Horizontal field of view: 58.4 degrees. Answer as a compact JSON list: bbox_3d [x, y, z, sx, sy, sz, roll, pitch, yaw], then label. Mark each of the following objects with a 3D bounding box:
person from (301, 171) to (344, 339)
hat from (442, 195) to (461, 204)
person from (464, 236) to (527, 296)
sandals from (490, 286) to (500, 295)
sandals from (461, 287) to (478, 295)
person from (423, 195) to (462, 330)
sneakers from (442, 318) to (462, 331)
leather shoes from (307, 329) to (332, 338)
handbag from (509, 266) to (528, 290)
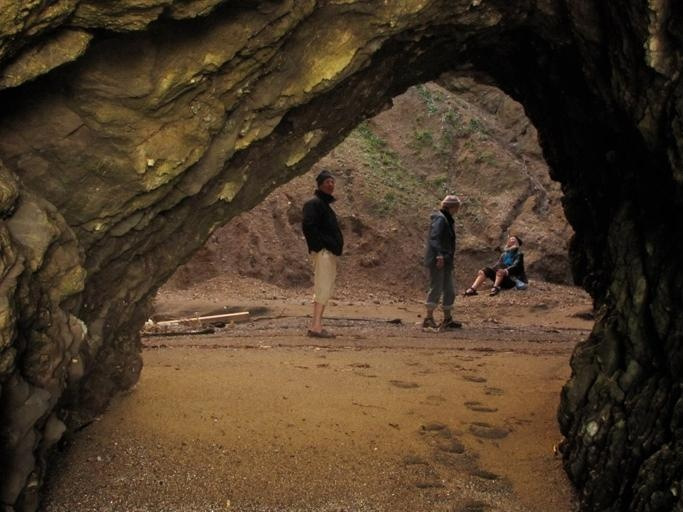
[{"bbox_3d":[-0.239,-0.009,7.181,0.466,1.947,0.600,3,10,0],"label":"person"},{"bbox_3d":[1.510,-0.779,8.435,0.204,0.110,0.269,3,10,-2],"label":"hat"},{"bbox_3d":[3.092,0.162,12.043,1.145,1.146,0.813,0,0,-21],"label":"person"},{"bbox_3d":[3.039,0.666,12.057,0.155,0.136,0.437,-3,3,18],"label":"sandals"},{"bbox_3d":[2.583,0.681,12.214,0.362,0.143,0.141,1,2,-2],"label":"sandals"},{"bbox_3d":[1.468,0.087,8.643,0.549,1.890,0.913,5,10,11],"label":"person"},{"bbox_3d":[1.546,0.946,8.671,0.377,0.182,0.127,-3,0,-7],"label":"sneakers"},{"bbox_3d":[-0.258,0.899,7.232,0.266,0.082,0.103,-1,-5,9],"label":"leather shoes"},{"bbox_3d":[3.472,0.440,11.868,0.317,0.415,0.151,-1,-39,-14],"label":"handbag"}]
